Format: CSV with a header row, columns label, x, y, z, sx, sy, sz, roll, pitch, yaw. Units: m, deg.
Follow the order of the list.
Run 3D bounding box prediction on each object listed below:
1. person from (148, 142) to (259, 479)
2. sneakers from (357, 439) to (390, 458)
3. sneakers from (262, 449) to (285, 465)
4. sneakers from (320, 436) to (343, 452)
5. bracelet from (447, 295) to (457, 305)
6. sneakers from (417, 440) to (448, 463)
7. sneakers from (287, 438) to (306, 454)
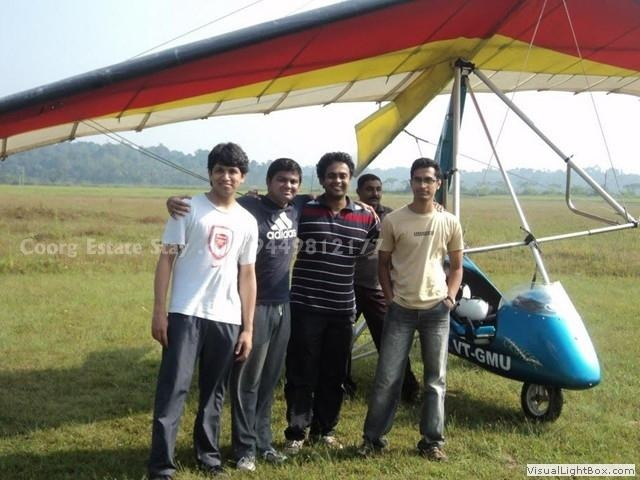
label,x,y,z,sx,sy,sz,roll,pitch,yaw
person,-1.108,0.672,5.136,1.136,3.146,0.536,-4,10,-25
sneakers,0.536,2.180,5.630,0.356,0.171,0.132,4,-5,-20
sneakers,-0.469,2.223,5.534,0.207,0.098,0.106,-1,7,14
sneakers,0.135,2.182,5.809,0.263,0.118,0.099,-2,1,41
bracelet,1.391,0.628,5.700,0.071,0.038,0.097,39,11,36
sneakers,1.154,2.176,5.529,0.139,0.131,0.277,2,-11,-14
sneakers,-0.256,2.170,5.669,0.127,0.117,0.116,-9,41,28
